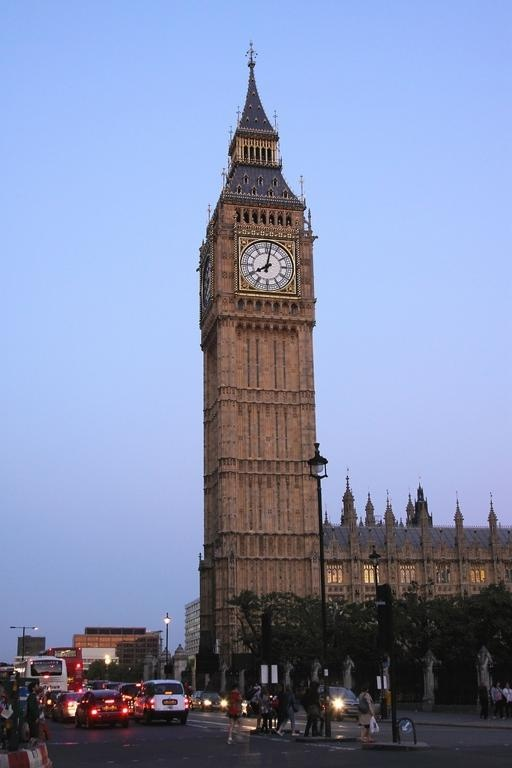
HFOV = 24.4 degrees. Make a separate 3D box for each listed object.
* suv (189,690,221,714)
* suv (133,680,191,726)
[{"bbox_3d":[-2.861,19.258,71.857,1.403,1.266,3.554,3,-30,-11],"label":"suv"},{"bbox_3d":[-3.325,11.360,42.983,1.590,1.492,2.944,4,-20,-10],"label":"suv"}]
